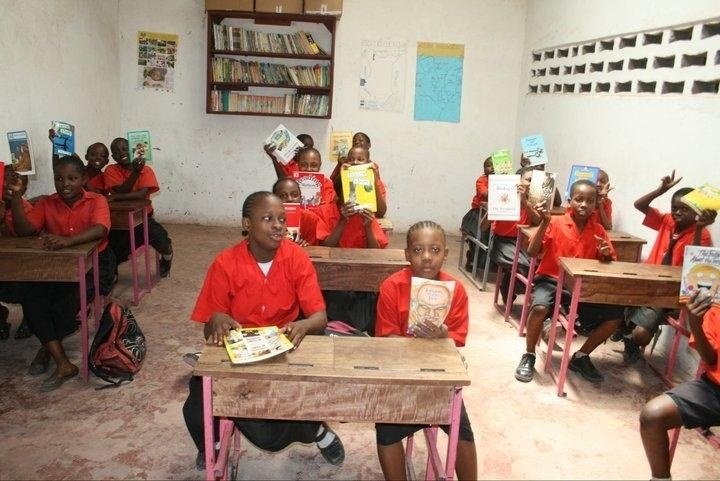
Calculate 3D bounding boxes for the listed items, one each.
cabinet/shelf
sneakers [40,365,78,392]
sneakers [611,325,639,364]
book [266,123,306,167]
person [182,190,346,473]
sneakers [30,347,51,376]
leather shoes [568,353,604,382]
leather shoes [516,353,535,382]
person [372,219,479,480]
[{"bbox_3d":[-1.169,-2.408,6.633,1.884,1.327,0.561,10,18,5],"label":"cabinet/shelf"},{"bbox_3d":[-2.164,0.968,3.453,0.106,0.098,0.260,10,24,23],"label":"sneakers"},{"bbox_3d":[2.274,0.885,4.097,0.117,0.235,0.344,-24,10,15],"label":"sneakers"},{"bbox_3d":[-0.786,-0.994,4.980,0.413,0.410,0.126,-41,3,5],"label":"book"},{"bbox_3d":[-0.546,0.570,2.677,0.828,1.617,0.703,-12,20,-40],"label":"person"},{"bbox_3d":[-2.417,0.898,3.576,0.099,0.061,0.243,0,22,-20],"label":"sneakers"},{"bbox_3d":[1.780,0.997,3.793,0.132,0.129,0.276,-22,40,-39],"label":"leather shoes"},{"bbox_3d":[1.305,0.999,3.743,0.101,0.112,0.273,7,8,16],"label":"leather shoes"},{"bbox_3d":[0.369,0.629,2.579,0.627,1.395,0.695,4,16,10],"label":"person"}]
